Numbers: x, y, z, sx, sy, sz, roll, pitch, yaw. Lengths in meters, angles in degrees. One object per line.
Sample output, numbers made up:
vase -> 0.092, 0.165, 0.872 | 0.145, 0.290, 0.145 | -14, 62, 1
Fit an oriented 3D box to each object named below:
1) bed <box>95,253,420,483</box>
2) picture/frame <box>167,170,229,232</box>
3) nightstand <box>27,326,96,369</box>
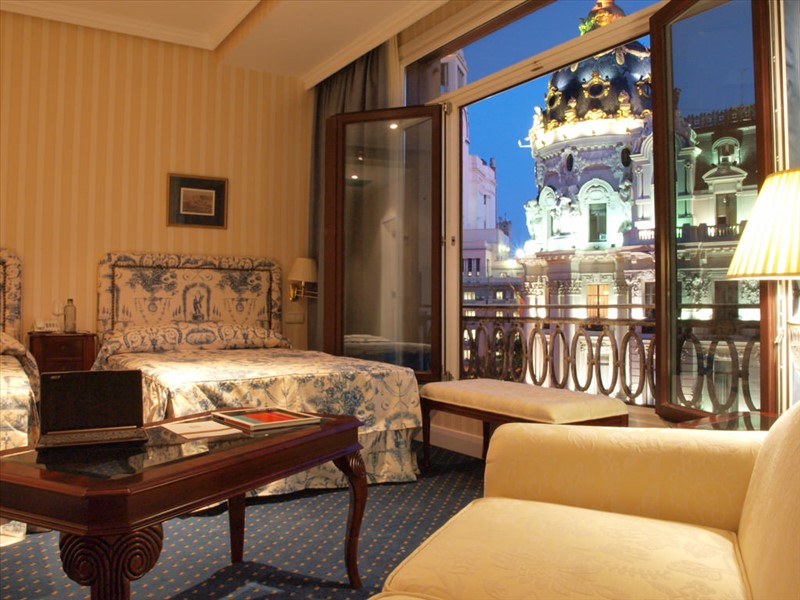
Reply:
bed -> -1.130, 0.311, 4.627 | 1.579, 1.320, 2.095 | 1, -4, -29
picture/frame -> -1.758, -0.855, 5.665 | 0.571, 0.512, 0.053 | 2, -5, -29
nightstand -> -2.490, 0.365, 4.868 | 0.452, 0.397, 0.294 | 1, -3, -35
